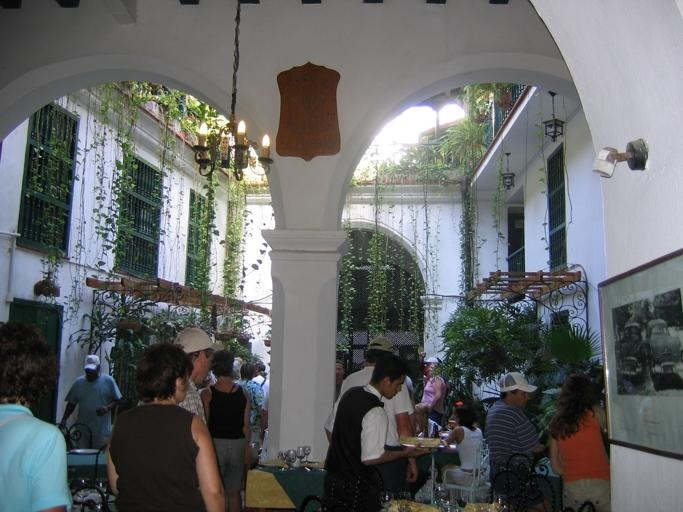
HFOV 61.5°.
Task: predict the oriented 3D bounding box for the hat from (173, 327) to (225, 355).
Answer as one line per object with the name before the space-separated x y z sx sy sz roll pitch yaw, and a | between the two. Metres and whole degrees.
hat | -1.107 0.671 4.484 0.262 0.174 0.195 -5 4 -28

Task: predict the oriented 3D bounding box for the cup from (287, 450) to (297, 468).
cup | -0.480 1.947 5.554 0.115 0.224 0.126 1 1 0

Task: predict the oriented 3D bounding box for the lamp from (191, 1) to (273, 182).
lamp | -1.143 -1.697 6.155 0.764 2.191 2.129 3 -14 -13

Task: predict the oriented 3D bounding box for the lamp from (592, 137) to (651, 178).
lamp | 1.393 -0.492 2.875 0.197 0.161 0.147 1 -8 1

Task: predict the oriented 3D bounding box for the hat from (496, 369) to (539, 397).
hat | 1.763 1.271 5.818 0.391 0.241 0.288 -5 -4 14

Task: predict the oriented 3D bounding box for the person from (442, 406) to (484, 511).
person | 1.259 2.194 6.265 0.427 1.167 0.555 10 -12 -42

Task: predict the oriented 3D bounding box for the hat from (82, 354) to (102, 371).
hat | -3.886 1.633 8.995 0.253 0.237 0.425 3 -10 -13
